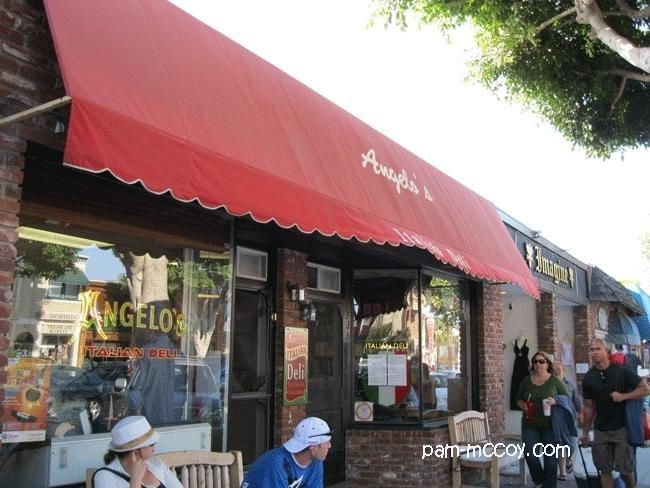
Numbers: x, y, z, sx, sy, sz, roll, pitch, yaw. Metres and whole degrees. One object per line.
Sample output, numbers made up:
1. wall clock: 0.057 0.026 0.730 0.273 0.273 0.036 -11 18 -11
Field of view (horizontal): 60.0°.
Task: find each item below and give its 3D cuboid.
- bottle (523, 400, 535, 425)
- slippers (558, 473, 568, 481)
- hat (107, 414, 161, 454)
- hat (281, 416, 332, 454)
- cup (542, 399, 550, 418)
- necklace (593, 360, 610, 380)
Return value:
1. bottle: 3.285 2.699 9.073 0.260 0.371 0.143 -12 -20 37
2. slippers: 4.431 4.319 10.453 0.115 0.088 0.320 -17 -37 24
3. hat: -1.700 1.626 4.866 0.445 0.209 0.405 -13 13 -22
4. hat: -0.171 1.667 4.979 0.479 0.272 0.330 1 -10 -23
5. cup: 3.515 2.557 8.897 0.127 0.230 0.088 -3 -16 13
6. necklace: 4.163 1.901 8.443 0.152 0.128 0.142 16 -8 -21
